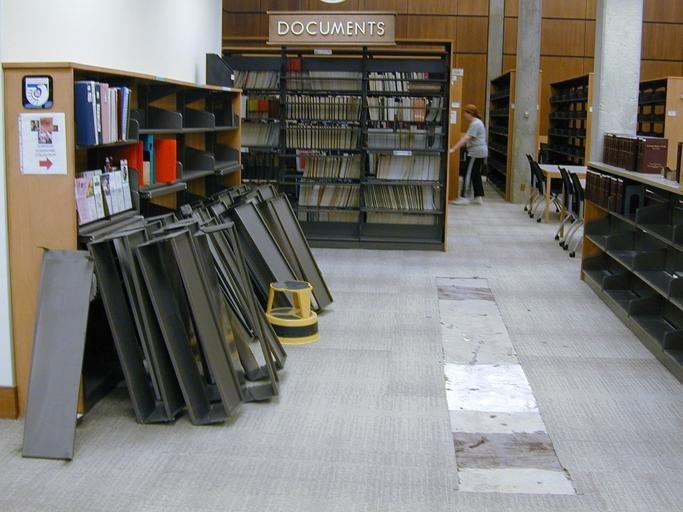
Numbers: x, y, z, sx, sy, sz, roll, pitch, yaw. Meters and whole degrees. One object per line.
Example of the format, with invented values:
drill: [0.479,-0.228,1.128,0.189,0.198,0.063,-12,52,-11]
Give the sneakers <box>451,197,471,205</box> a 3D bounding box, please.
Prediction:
sneakers: [2.561,-1.188,11.279,0.444,0.209,0.176,3,17,-2]

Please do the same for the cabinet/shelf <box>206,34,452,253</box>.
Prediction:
cabinet/shelf: [-0.108,-1.525,6.916,2.738,2.615,1.025,2,11,6]
